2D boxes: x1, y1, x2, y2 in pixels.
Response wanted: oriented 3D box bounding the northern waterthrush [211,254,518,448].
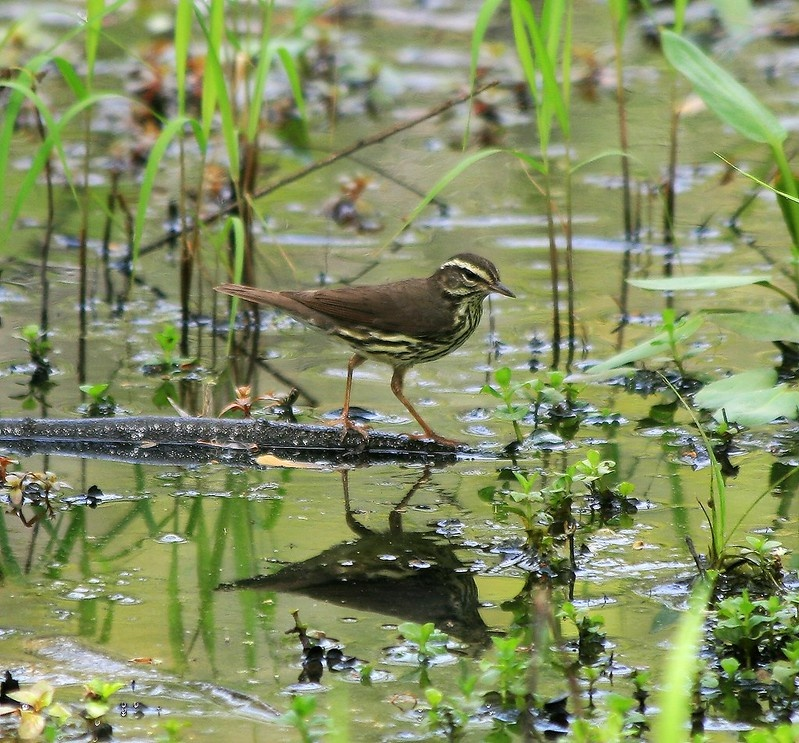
[{"bbox_3d":[-0.148,-0.252,5.470,1.741,0.712,0.423,8,17,27],"label":"northern waterthrush"}]
